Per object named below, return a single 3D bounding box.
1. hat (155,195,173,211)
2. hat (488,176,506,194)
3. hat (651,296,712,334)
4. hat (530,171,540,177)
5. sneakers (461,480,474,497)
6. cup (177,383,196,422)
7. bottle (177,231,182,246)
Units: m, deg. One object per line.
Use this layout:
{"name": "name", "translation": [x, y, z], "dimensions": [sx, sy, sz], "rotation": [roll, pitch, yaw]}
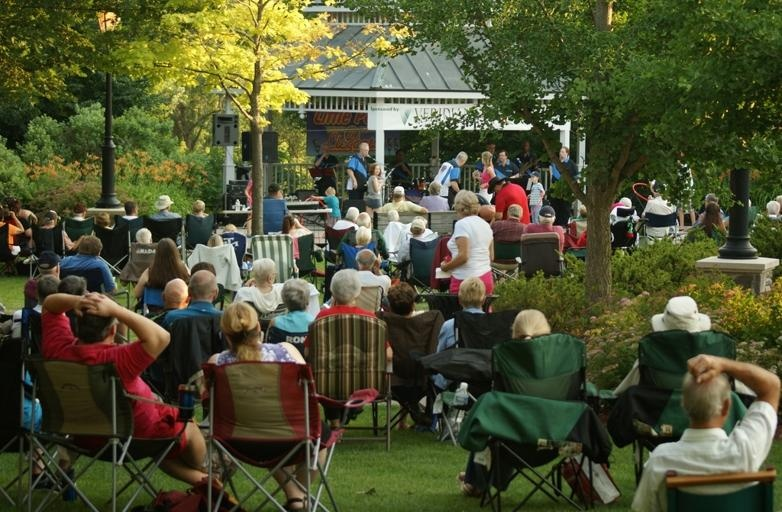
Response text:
{"name": "hat", "translation": [-3.795, -0.892, 25.507], "dimensions": [0.333, 0.192, 0.449], "rotation": [2, 20, 7]}
{"name": "hat", "translation": [2.058, -1.484, 29.694], "dimensions": [0.338, 0.123, 0.299], "rotation": [-44, -3, -9]}
{"name": "hat", "translation": [3.280, 0.610, 16.941], "dimensions": [0.467, 0.196, 0.442], "rotation": [-16, 31, -31]}
{"name": "hat", "translation": [2.902, -1.718, 31.146], "dimensions": [0.132, 0.071, 0.193], "rotation": [4, 7, 14]}
{"name": "sneakers", "translation": [0.844, 2.543, 16.974], "dimensions": [0.141, 0.128, 0.132], "rotation": [3, 2, 17]}
{"name": "cup", "translation": [-2.240, 1.560, 16.793], "dimensions": [0.192, 0.384, 0.568], "rotation": [0, 2, -8]}
{"name": "bottle", "translation": [-3.479, -0.327, 25.119], "dimensions": [0.043, 0.185, 0.188], "rotation": [4, 7, -9]}
